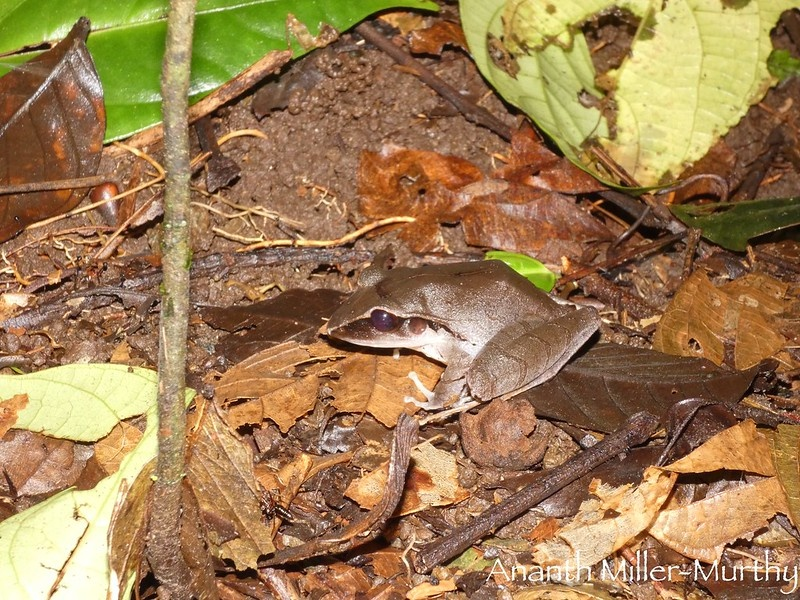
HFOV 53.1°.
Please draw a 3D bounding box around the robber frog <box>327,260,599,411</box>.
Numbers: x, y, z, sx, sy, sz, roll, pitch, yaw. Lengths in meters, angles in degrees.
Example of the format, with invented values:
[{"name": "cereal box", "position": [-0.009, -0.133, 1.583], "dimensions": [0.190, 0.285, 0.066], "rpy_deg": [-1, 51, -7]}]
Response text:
[{"name": "robber frog", "position": [0.252, 0.086, 2.963], "dimensions": [0.836, 0.303, 0.558], "rpy_deg": [-11, 49, 2]}]
